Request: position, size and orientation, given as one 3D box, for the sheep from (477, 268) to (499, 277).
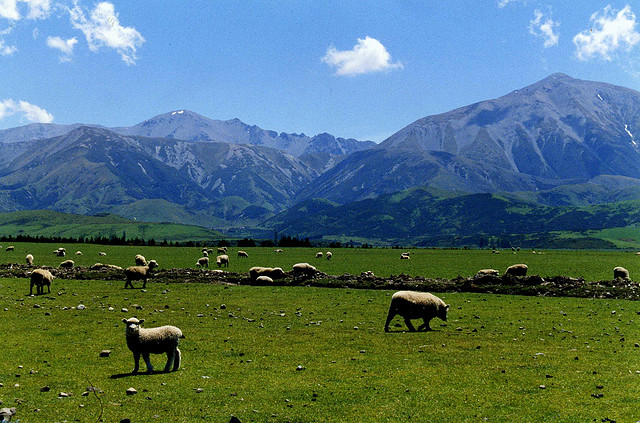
[{"bbox_3d":[21.971,8.069,87.461,2.160,0.623,1.553,6,-5,-35],"label":"sheep"}]
